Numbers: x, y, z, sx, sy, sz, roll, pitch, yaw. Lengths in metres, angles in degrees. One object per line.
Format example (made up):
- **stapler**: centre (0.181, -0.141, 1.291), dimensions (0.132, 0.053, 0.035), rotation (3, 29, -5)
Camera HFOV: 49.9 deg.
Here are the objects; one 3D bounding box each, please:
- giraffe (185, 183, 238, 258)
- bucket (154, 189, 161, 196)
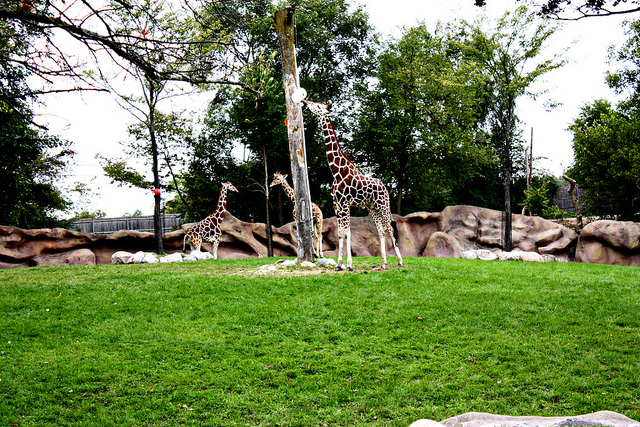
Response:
- **giraffe**: centre (-5.563, 0.503, 36.119), dimensions (2.835, 4.421, 1.140), rotation (-8, 22, -25)
- **bucket**: centre (-8.571, -1.133, 36.393), dimensions (0.287, 0.339, 0.372), rotation (-3, 9, -16)
